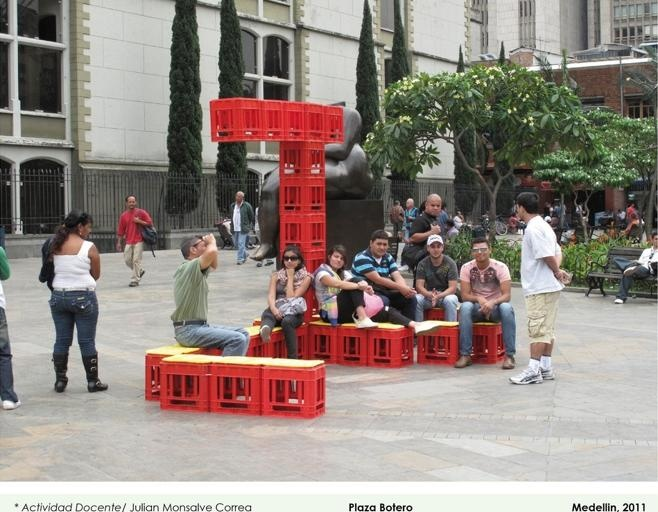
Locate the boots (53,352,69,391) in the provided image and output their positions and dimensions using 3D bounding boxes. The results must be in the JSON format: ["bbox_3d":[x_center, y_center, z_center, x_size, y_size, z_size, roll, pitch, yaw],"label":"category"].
[{"bbox_3d":[-3.225,1.370,11.165,0.187,0.459,0.457,-1,4,-12],"label":"boots"}]

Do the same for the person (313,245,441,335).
[{"bbox_3d":[0.564,0.465,12.354,1.722,1.055,0.709,7,6,32],"label":"person"}]

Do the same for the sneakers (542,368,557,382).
[{"bbox_3d":[2.730,1.479,11.542,0.106,0.139,0.290,-1,-8,18],"label":"sneakers"}]

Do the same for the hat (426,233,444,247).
[{"bbox_3d":[1.528,-0.218,13.025,0.200,0.160,0.345,1,6,6],"label":"hat"}]

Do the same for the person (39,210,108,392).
[{"bbox_3d":[-3.027,0.542,11.022,0.729,2.131,0.510,-2,3,-19],"label":"person"}]

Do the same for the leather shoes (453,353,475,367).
[{"bbox_3d":[1.771,1.390,12.221,0.103,0.211,0.283,0,-3,38],"label":"leather shoes"}]

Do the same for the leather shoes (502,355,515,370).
[{"bbox_3d":[2.348,1.391,12.136,0.145,0.181,0.428,-1,-3,13],"label":"leather shoes"}]

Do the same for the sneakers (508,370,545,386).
[{"bbox_3d":[2.410,1.484,11.349,0.410,0.209,0.165,-1,2,-5],"label":"sneakers"}]

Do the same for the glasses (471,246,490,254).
[{"bbox_3d":[2.025,-0.074,12.361,0.225,0.086,0.176,-1,3,4],"label":"glasses"}]

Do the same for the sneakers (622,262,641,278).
[{"bbox_3d":[5.705,0.262,17.504,0.170,0.162,0.465,0,31,45],"label":"sneakers"}]

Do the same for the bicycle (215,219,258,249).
[{"bbox_3d":[-3.162,-0.710,31.658,1.488,1.281,1.025,-2,6,-7],"label":"bicycle"}]

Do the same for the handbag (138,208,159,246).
[{"bbox_3d":[-3.927,-0.609,20.044,0.379,0.752,0.671,-2,3,-12],"label":"handbag"}]

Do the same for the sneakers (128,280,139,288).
[{"bbox_3d":[-4.162,0.578,19.858,0.201,0.135,0.274,-2,3,-11],"label":"sneakers"}]

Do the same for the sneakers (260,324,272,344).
[{"bbox_3d":[-0.784,0.963,11.566,0.089,0.261,0.106,2,19,-5],"label":"sneakers"}]

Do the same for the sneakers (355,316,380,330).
[{"bbox_3d":[0.476,0.882,12.183,0.236,0.108,0.148,-1,1,28],"label":"sneakers"}]
